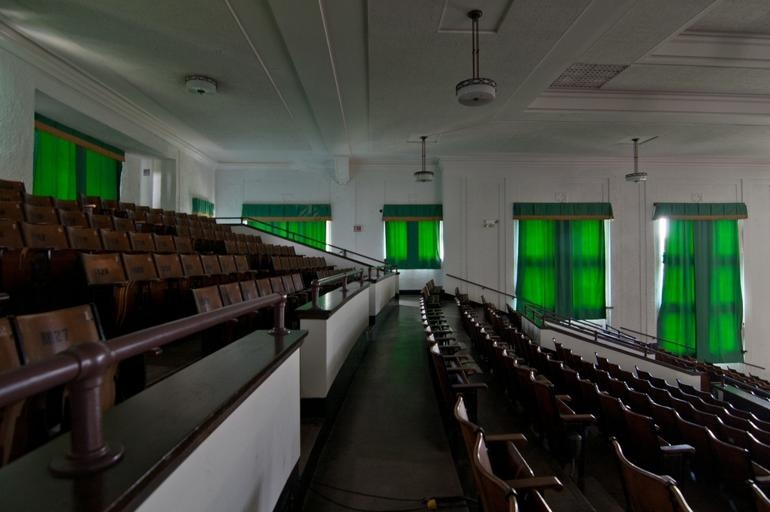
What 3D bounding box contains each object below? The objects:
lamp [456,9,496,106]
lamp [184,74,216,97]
[{"bbox_3d":[1.328,-2.825,6.781,0.507,1.233,1.090,0,2,10],"label":"lamp"},{"bbox_3d":[-3.277,-3.050,8.160,0.324,0.121,0.333,-3,-4,16],"label":"lamp"}]
